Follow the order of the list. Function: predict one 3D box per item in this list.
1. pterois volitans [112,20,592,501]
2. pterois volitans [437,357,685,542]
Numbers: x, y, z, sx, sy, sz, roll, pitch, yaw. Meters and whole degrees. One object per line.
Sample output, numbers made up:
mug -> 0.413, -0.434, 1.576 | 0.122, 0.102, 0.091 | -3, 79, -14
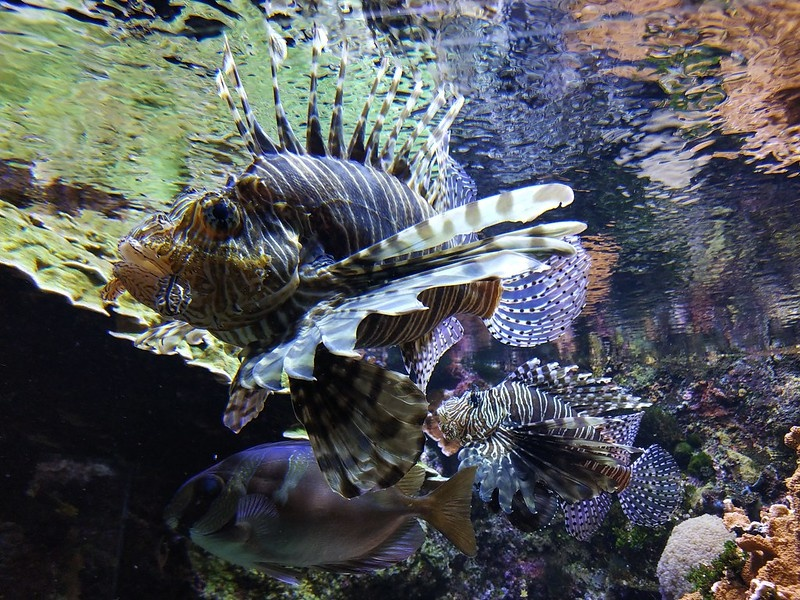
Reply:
pterois volitans -> -0.656, -0.213, 6.615 | 4.280, 2.554, 3.166 | -1, 1, -12
pterois volitans -> 1.548, 1.392, 7.583 | 2.732, 1.268, 1.398 | 20, -11, -5
